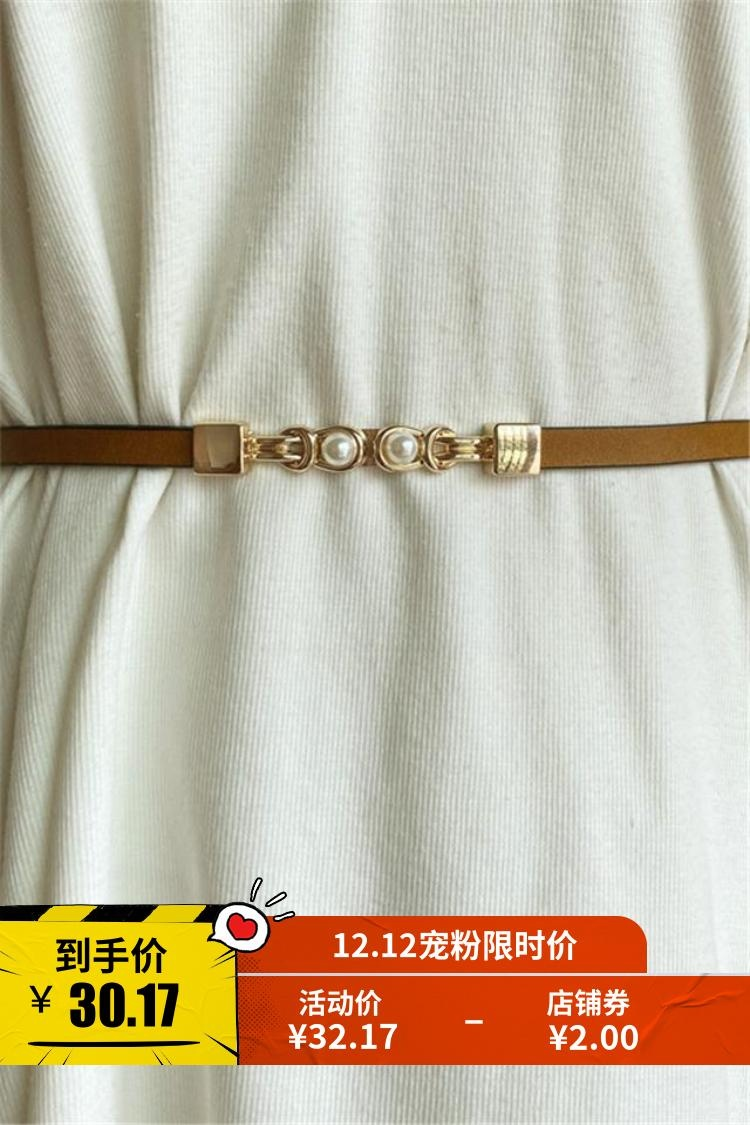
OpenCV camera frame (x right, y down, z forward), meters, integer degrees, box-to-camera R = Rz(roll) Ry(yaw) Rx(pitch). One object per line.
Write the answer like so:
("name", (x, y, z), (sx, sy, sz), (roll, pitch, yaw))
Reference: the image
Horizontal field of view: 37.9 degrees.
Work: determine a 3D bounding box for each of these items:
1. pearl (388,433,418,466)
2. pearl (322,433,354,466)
("pearl", (0.015, -0.057, 0.549), (0.013, 0.009, 0.017), (-20, -79, -14))
("pearl", (-0.019, -0.057, 0.550), (0.013, 0.009, 0.017), (-22, -84, -2))
